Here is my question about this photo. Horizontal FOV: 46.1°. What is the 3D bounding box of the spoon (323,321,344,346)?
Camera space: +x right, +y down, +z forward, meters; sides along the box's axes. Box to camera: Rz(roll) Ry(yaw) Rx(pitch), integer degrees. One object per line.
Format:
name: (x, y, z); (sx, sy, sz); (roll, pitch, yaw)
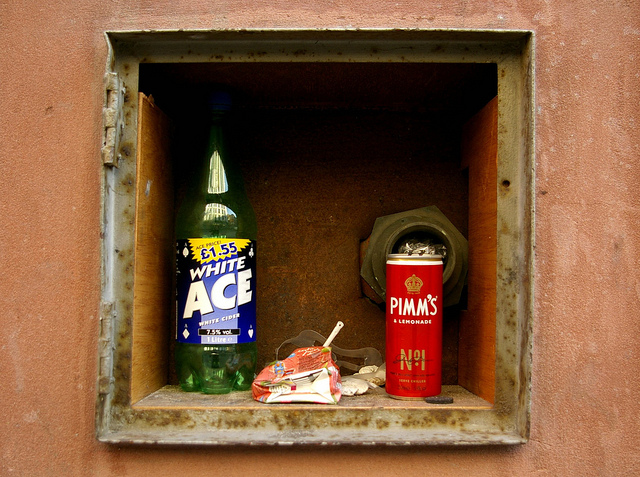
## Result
spoon: (0.031, 0.203, 1.630); (0.040, 0.050, 0.117); (-3, -7, 3)

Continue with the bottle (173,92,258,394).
bottle: (-0.228, 0.006, 1.656); (0.190, 0.651, 0.180); (-1, -3, 0)
